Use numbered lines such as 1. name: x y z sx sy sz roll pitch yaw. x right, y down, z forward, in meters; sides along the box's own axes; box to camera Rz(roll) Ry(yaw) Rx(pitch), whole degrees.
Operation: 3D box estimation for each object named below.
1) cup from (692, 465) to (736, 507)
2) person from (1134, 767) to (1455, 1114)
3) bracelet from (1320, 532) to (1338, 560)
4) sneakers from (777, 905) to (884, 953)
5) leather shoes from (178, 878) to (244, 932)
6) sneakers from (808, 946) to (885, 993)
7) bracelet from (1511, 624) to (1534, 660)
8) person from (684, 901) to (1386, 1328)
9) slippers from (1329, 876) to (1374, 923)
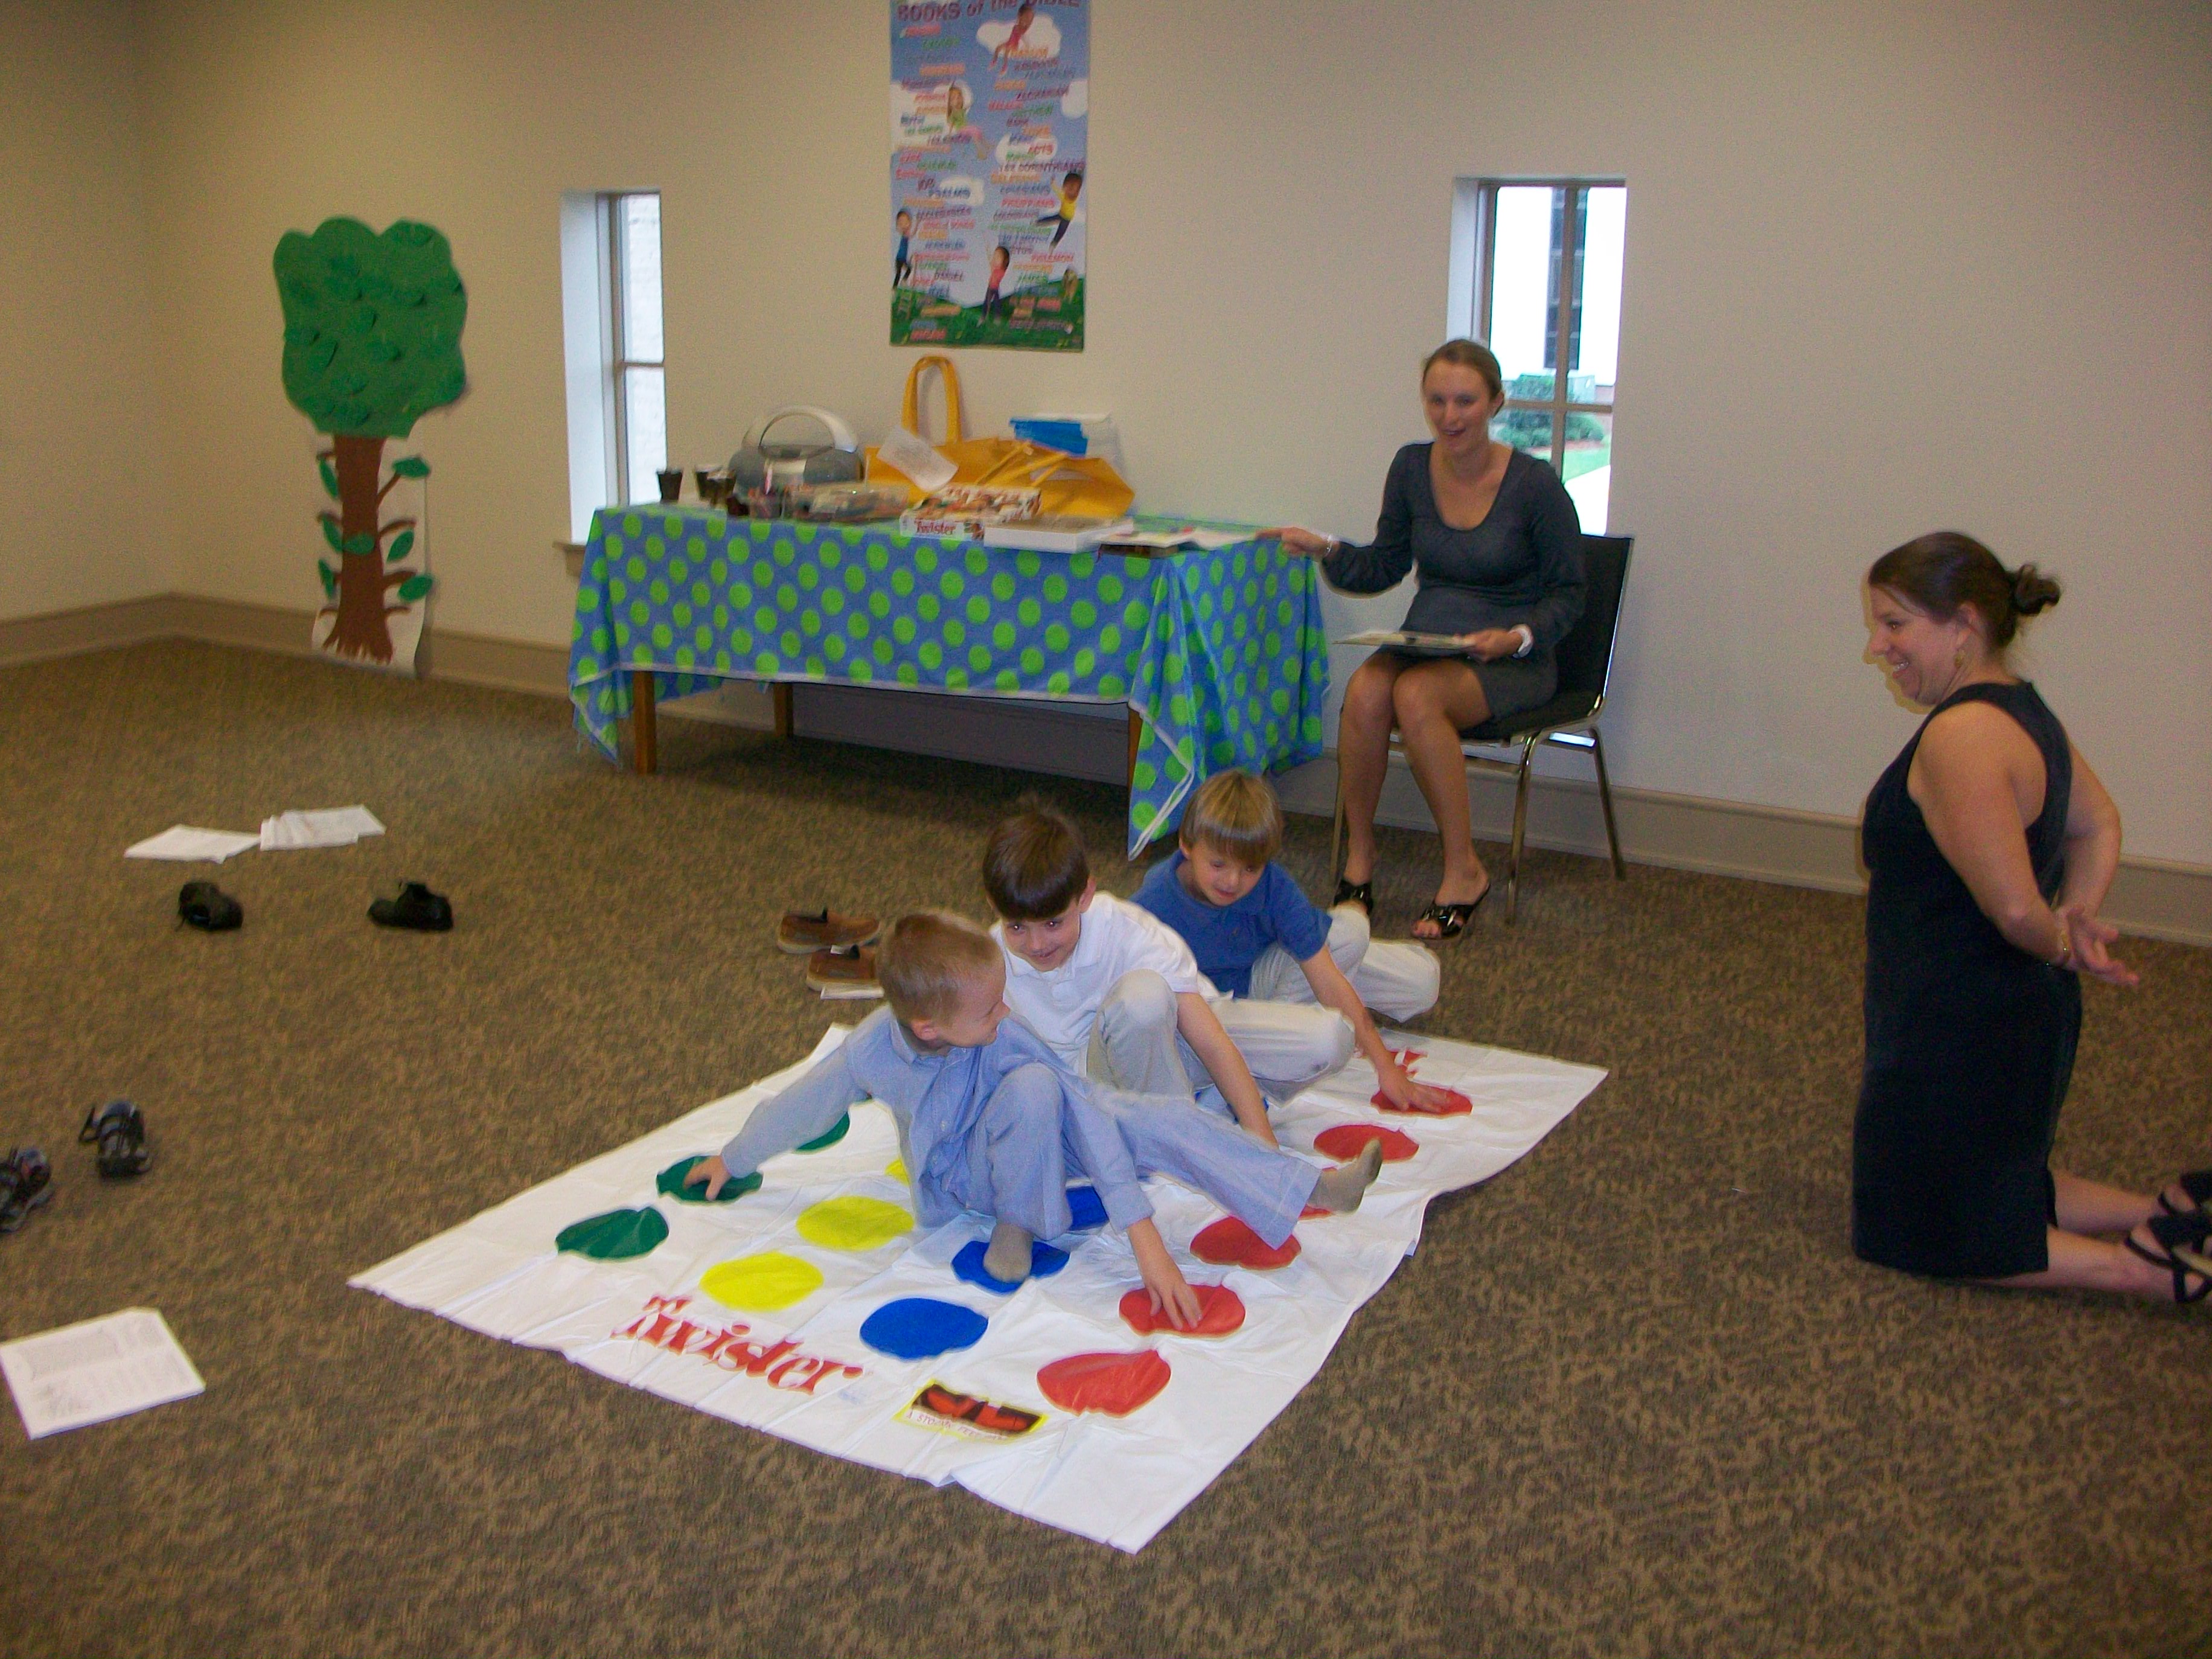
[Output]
1. cup: -1.362 -1.181 5.534 0.113 0.127 0.417 -7 21 -18
2. person: 0.403 0.231 3.223 0.710 0.627 0.546 13 30 36
3. bracelet: 0.679 -0.868 4.824 0.048 0.081 0.071 4 -12 6
4. sneakers: -0.737 0.267 4.176 0.289 0.146 0.118 -6 21 -12
5. leather shoes: -2.420 0.215 4.271 0.192 0.073 0.121 -1 5 -32
6. sneakers: -0.639 0.348 3.906 0.202 0.078 0.142 3 25 6
7. bracelet: 1.161 -0.512 4.413 0.034 0.066 0.079 2 7 -3
8. person: -0.082 0.445 2.818 1.099 0.549 0.720 15 25 23
9. slippers: 0.693 0.210 4.432 0.070 0.095 0.217 -1 5 0
